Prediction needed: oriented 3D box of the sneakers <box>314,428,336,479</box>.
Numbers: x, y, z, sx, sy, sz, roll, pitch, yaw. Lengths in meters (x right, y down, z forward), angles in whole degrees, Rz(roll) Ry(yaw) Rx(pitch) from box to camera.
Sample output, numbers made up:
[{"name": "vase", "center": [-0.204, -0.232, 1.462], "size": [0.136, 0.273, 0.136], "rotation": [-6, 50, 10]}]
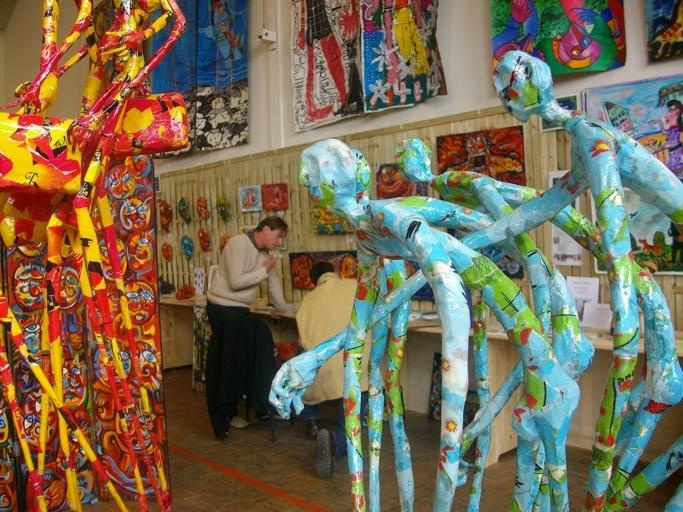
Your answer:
[{"name": "sneakers", "center": [-0.108, 1.297, 3.923], "size": [0.134, 0.305, 0.173], "rotation": [-2, 3, -6]}]

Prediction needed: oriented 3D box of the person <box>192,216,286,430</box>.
[{"name": "person", "center": [-0.777, 0.554, 4.884], "size": [0.701, 1.751, 0.935], "rotation": [-2, 3, -6]}]

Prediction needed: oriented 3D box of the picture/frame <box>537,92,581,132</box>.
[{"name": "picture/frame", "center": [1.534, -1.014, 4.203], "size": [0.205, 0.240, 0.282], "rotation": [-2, 3, -2]}]

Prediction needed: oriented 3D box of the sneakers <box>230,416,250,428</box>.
[{"name": "sneakers", "center": [-0.852, 1.377, 5.000], "size": [0.184, 0.087, 0.065], "rotation": [-3, -2, 45]}]
